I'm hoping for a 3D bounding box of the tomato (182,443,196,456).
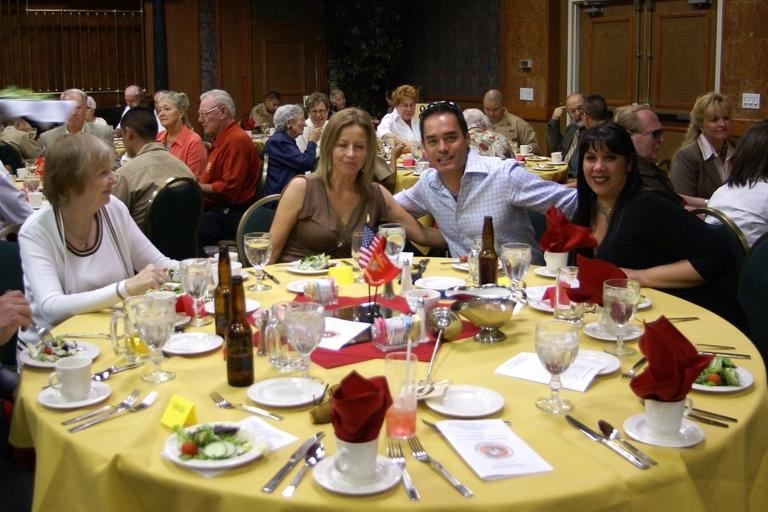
[{"bbox_3d":[-0.467,0.466,1.329,0.029,0.031,0.029,4,2,-33],"label":"tomato"}]

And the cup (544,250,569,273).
[{"bbox_3d":[0.767,0.019,2.496,0.101,0.106,0.121,-2,3,-10],"label":"cup"}]

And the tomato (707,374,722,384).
[{"bbox_3d":[0.978,0.366,1.628,0.029,0.031,0.029,-2,1,-4],"label":"tomato"}]

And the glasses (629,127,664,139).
[{"bbox_3d":[1.898,-0.899,4.019,0.141,0.046,0.144,-4,8,-45],"label":"glasses"}]
